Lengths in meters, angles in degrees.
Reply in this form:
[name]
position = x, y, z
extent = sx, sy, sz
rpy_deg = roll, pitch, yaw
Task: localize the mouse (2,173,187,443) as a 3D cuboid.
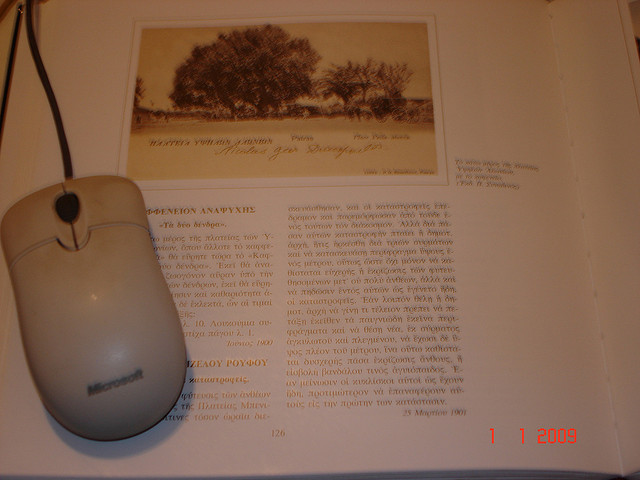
[mouse]
position = -0.299, 0.077, 0.717
extent = 0.205, 0.366, 0.091
rpy_deg = -12, -9, -6
